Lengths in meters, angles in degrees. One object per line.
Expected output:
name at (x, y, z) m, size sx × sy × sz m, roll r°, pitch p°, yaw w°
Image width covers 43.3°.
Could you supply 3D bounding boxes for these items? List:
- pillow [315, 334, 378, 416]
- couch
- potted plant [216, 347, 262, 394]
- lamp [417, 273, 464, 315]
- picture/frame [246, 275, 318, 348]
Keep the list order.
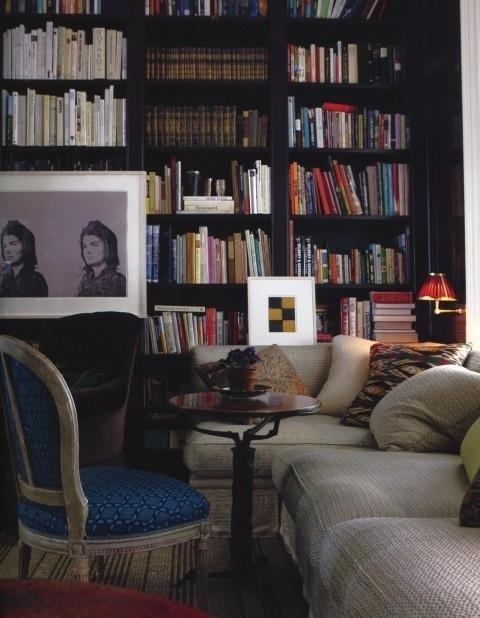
pillow at (0.467, 0.272, 2.689) m, size 0.123 × 0.327 × 0.307 m, roll 19°, pitch -19°, yaw -17°
couch at (0.341, 0.457, 1.784) m, size 0.784 × 0.533 × 0.790 m, roll 0°, pitch -7°, yaw 2°
potted plant at (0.000, 0.191, 1.989) m, size 0.139 × 0.166 × 0.110 m, roll -1°, pitch 10°, yaw -20°
lamp at (0.984, -0.074, 3.004) m, size 0.189 × 0.218 × 0.217 m, roll 2°, pitch 1°, yaw 37°
picture/frame at (0.215, 0.021, 3.268) m, size 0.336 × 0.387 × 0.037 m, roll -1°, pitch -7°, yaw -5°
